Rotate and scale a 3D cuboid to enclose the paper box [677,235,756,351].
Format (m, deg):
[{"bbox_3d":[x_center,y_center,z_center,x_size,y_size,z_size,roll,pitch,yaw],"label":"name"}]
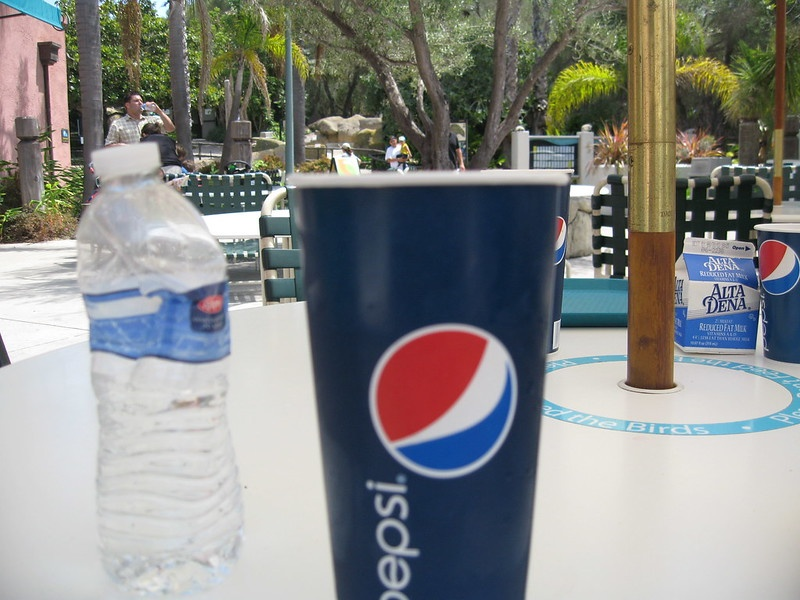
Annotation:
[{"bbox_3d":[0.562,-0.005,1.413,0.108,0.228,0.105,6,-20,4],"label":"paper box"}]

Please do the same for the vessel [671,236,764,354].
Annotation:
[{"bbox_3d":[0.559,-0.004,1.400,0.108,0.227,0.112,6,-21,5],"label":"vessel"}]

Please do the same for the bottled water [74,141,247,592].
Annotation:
[{"bbox_3d":[-0.245,0.077,0.832,0.162,0.415,0.200,-3,7,-24],"label":"bottled water"}]
